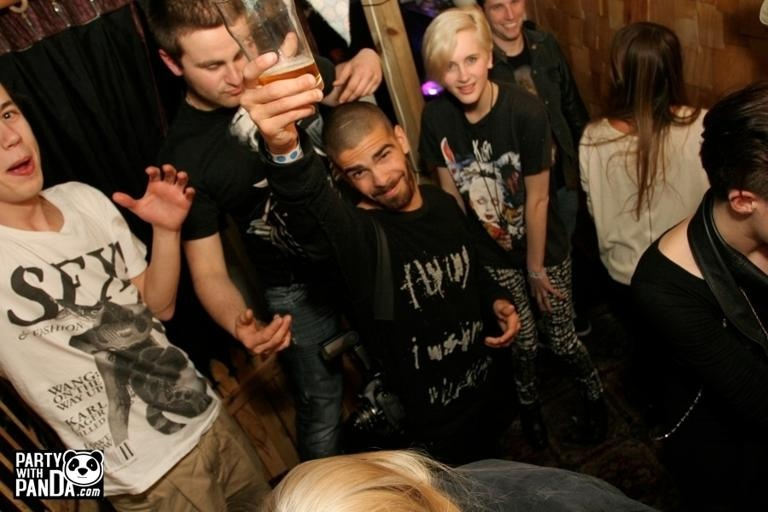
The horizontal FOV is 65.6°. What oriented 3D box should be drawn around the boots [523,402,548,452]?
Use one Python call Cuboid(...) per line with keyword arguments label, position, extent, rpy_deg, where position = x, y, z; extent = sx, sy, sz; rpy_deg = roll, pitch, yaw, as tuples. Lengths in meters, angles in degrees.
Cuboid(label="boots", position=(0.982, 1.062, 3.766), extent=(0.155, 0.271, 0.268), rpy_deg=(-14, -7, 17))
